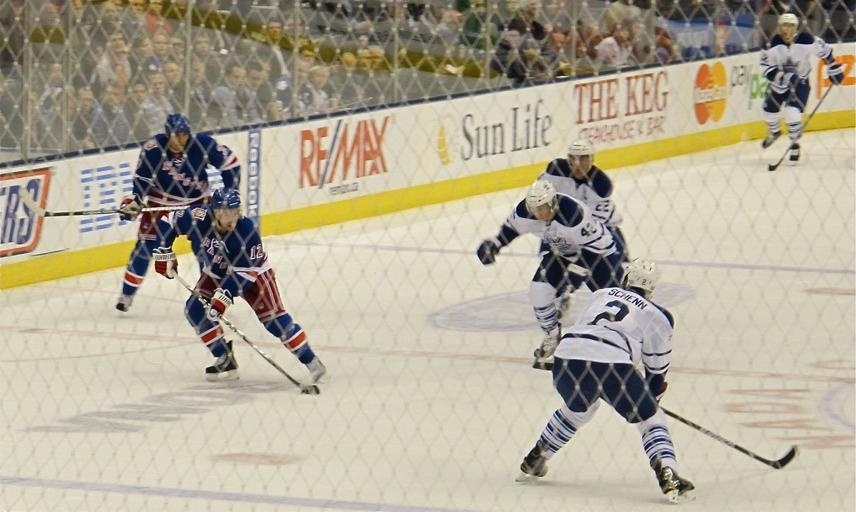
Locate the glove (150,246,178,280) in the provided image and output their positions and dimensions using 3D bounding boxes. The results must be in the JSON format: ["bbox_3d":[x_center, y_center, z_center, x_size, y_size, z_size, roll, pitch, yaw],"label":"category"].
[{"bbox_3d":[-2.332,0.057,11.616,0.184,0.295,0.293,0,-3,-25],"label":"glove"}]

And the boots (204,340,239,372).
[{"bbox_3d":[-1.757,0.850,11.295,0.315,0.269,0.109,-9,11,-27],"label":"boots"}]

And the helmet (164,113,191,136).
[{"bbox_3d":[-2.206,-1.133,11.776,0.200,0.184,0.246,-12,22,-14],"label":"helmet"}]

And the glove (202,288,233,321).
[{"bbox_3d":[-1.720,0.392,11.083,0.193,0.266,0.122,31,2,7],"label":"glove"}]

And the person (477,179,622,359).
[{"bbox_3d":[1.046,0.166,11.438,1.013,1.430,0.838,21,53,29],"label":"person"}]

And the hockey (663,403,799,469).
[{"bbox_3d":[2.318,1.412,10.092,1.251,0.136,0.415,22,-11,16],"label":"hockey"}]

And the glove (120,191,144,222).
[{"bbox_3d":[-2.710,-0.449,12.170,0.176,0.220,0.192,15,24,14],"label":"glove"}]

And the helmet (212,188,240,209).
[{"bbox_3d":[-1.648,-0.467,10.878,0.234,0.149,0.220,-11,22,-10],"label":"helmet"}]

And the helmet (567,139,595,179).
[{"bbox_3d":[1.297,-0.812,11.367,0.235,0.286,0.295,2,21,10],"label":"helmet"}]

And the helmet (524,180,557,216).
[{"bbox_3d":[0.902,-0.475,10.719,0.218,0.272,0.264,-5,35,10],"label":"helmet"}]

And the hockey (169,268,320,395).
[{"bbox_3d":[-1.581,0.685,11.497,1.585,0.233,0.176,33,-4,9],"label":"hockey"}]

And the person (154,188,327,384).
[{"bbox_3d":[-1.716,0.326,11.904,1.439,1.676,0.935,9,13,23],"label":"person"}]

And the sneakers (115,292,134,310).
[{"bbox_3d":[-2.832,0.430,12.526,0.143,0.161,0.143,19,-2,3],"label":"sneakers"}]

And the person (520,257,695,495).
[{"bbox_3d":[1.351,0.920,9.918,1.115,1.536,0.938,-3,22,10],"label":"person"}]

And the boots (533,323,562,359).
[{"bbox_3d":[1.022,0.752,11.484,0.151,0.390,0.131,-14,41,-33],"label":"boots"}]

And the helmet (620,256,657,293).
[{"bbox_3d":[1.594,0.134,10.074,0.204,0.266,0.263,11,10,2],"label":"helmet"}]
